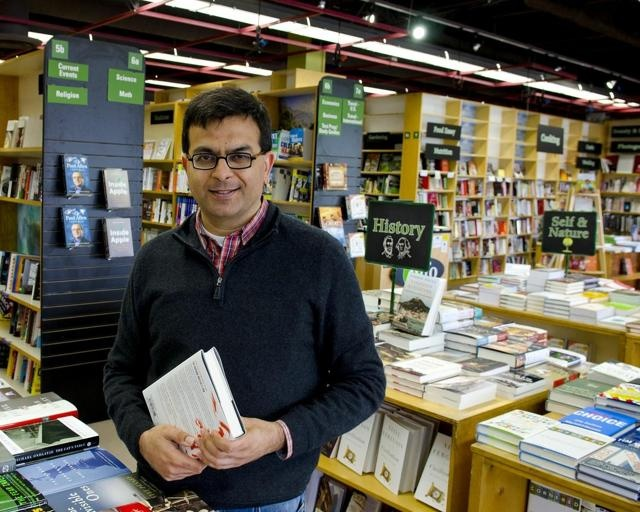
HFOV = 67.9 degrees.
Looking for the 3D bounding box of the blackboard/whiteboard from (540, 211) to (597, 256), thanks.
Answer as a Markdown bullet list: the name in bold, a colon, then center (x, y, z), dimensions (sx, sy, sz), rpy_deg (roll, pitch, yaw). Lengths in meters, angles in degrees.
- **blackboard/whiteboard**: center (2.800, -0.263, 5.308), dimensions (0.704, 0.454, 0.074), rpy_deg (3, 0, 41)
